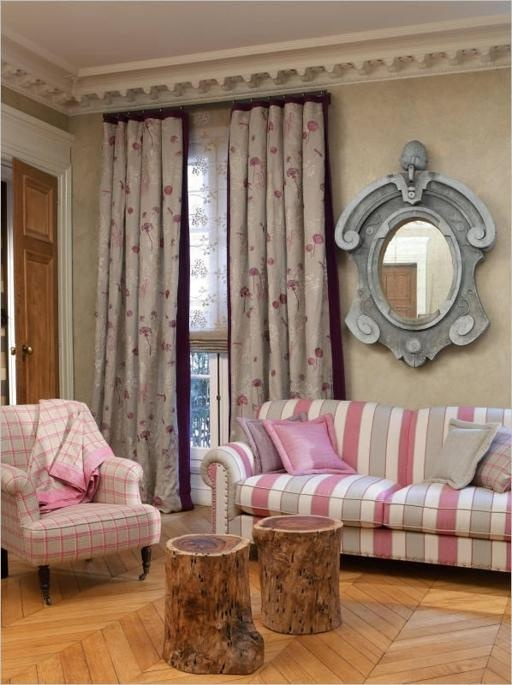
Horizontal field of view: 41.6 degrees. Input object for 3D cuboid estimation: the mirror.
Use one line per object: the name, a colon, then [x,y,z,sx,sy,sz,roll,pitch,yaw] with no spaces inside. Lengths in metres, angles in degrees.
mirror: [0.912,-0.516,3.951,0.907,1.301,0.150,-1,-2,25]

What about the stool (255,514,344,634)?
stool: [0.159,0.855,2.580,0.353,0.384,0.349,-1,-2,-1]

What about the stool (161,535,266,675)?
stool: [-0.149,0.851,2.272,0.328,0.370,0.318,1,0,-13]

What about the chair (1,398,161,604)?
chair: [-0.852,0.625,3.082,0.710,0.874,0.803,1,-2,-42]
